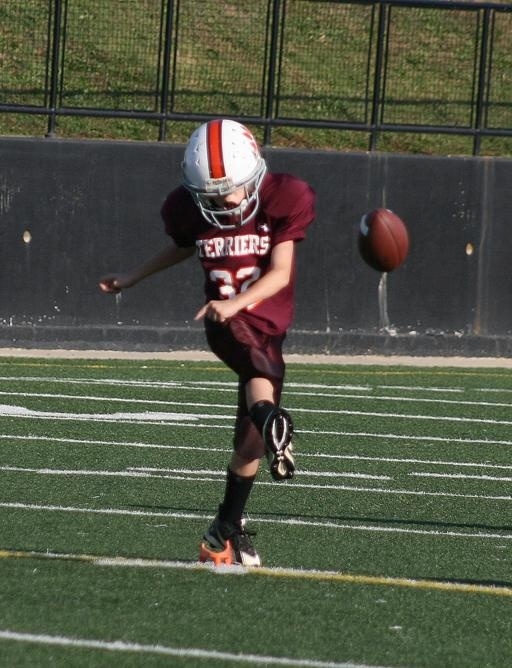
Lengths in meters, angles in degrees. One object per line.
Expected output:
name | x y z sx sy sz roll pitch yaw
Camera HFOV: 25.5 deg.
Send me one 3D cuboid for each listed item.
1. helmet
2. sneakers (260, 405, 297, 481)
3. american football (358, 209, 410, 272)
helmet | -0.139 -0.708 4.413 0.357 0.299 0.383 -4 38 -1
sneakers | 0.085 0.380 3.985 0.130 0.264 0.100 -7 -24 -23
american football | 0.650 -0.481 5.861 0.256 0.319 0.221 -18 -31 16
